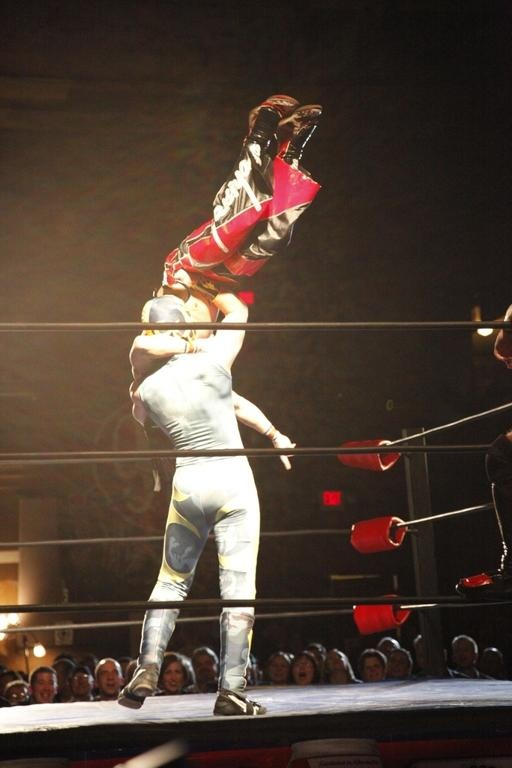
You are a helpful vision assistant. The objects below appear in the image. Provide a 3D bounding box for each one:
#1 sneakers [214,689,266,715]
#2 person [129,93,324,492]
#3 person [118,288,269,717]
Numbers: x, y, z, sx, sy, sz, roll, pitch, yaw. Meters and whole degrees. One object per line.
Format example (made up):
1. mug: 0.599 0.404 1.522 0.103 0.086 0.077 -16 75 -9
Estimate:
1. sneakers: -0.049 0.930 2.832 0.169 0.054 0.053 3 -19 -9
2. person: 0.089 -0.410 4.409 0.533 1.595 0.982 20 24 -1
3. person: -0.160 0.292 3.234 0.538 1.464 1.026 3 -15 -7
